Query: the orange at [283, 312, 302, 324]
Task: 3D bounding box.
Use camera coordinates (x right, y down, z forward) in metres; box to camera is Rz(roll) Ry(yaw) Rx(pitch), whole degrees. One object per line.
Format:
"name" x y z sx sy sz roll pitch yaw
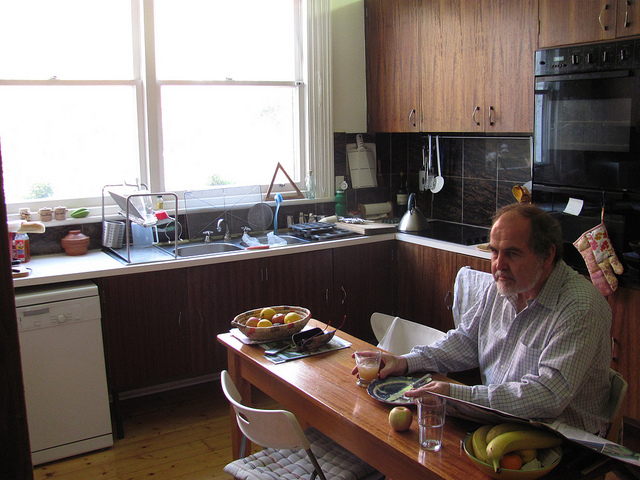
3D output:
"orange" -0.129 0.351 2.252 0.057 0.046 0.045 -7 35 -21

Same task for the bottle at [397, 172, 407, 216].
"bottle" 0.780 -0.416 4.653 0.096 0.439 0.098 -3 16 1

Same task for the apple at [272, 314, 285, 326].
"apple" -0.191 0.371 2.268 0.039 0.037 0.041 1 7 -11

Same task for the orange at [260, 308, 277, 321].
"orange" -0.248 0.348 2.298 0.056 0.047 0.043 13 -11 -15

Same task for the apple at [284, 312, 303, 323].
"apple" -0.127 0.357 2.246 0.053 0.043 0.045 2 35 -10

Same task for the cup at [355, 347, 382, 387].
"cup" 0.190 0.478 1.869 0.106 0.127 0.113 0 1 0

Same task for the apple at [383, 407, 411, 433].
"apple" 0.250 0.587 1.587 0.069 0.067 0.070 13 -24 -21

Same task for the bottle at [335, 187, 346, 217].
"bottle" 0.179 -0.335 4.365 0.104 0.253 0.071 -7 11 1

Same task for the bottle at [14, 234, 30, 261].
"bottle" -1.964 0.053 3.210 0.043 0.167 0.119 -4 12 17

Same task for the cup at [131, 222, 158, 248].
"cup" -1.315 -0.040 3.644 0.218 0.225 0.144 3 7 1

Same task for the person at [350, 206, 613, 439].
"person" 0.675 0.255 2.094 1.001 1.076 0.751 -1 2 -21

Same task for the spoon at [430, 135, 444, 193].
"spoon" 1.036 -0.677 4.369 0.129 0.521 0.140 0 14 33

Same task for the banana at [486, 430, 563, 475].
"banana" 0.583 0.587 1.401 0.283 0.089 0.060 -15 14 -27

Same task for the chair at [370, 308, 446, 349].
"chair" 0.445 0.475 2.587 0.213 0.334 0.217 3 -12 -38

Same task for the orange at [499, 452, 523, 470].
"orange" 0.533 0.617 1.360 0.047 0.050 0.049 -5 15 2
